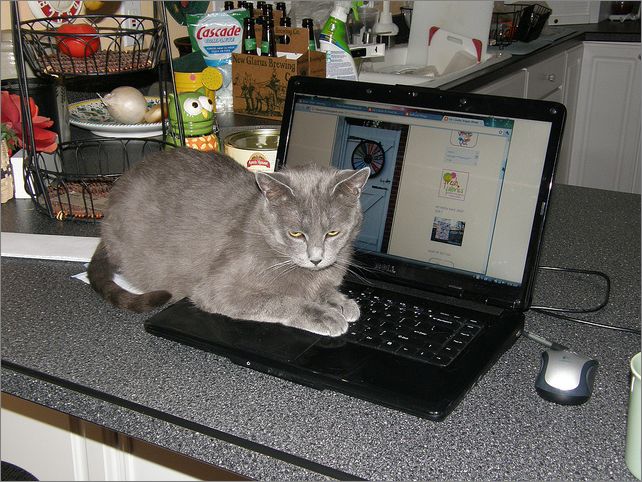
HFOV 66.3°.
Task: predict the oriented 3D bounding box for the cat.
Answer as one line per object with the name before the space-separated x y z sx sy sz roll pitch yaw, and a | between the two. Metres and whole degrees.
cat | -0.213 -0.005 1.002 0.536 0.264 0.297 14 34 18

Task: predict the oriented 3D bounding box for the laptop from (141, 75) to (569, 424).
laptop | 0.050 -0.025 0.865 0.633 0.339 0.525 11 35 30

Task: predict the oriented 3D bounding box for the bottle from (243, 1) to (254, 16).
bottle | -0.311 -1.000 2.126 0.043 0.056 0.153 -2 24 -8

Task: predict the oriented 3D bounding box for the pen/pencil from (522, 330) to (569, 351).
pen/pencil | 0.368 0.166 0.808 0.013 0.011 0.085 -12 19 -36

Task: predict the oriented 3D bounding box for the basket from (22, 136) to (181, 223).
basket | -0.598 -0.243 1.508 0.396 0.121 0.381 -3 13 15

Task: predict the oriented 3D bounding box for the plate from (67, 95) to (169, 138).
plate | -0.760 -0.444 1.825 0.393 0.082 0.387 -1 20 19

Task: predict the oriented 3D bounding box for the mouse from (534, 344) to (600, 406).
mouse | 0.365 0.191 0.725 0.081 0.036 0.131 5 18 31

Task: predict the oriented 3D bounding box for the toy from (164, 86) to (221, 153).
toy | -0.402 -0.341 1.483 0.186 0.237 0.174 0 24 -10
